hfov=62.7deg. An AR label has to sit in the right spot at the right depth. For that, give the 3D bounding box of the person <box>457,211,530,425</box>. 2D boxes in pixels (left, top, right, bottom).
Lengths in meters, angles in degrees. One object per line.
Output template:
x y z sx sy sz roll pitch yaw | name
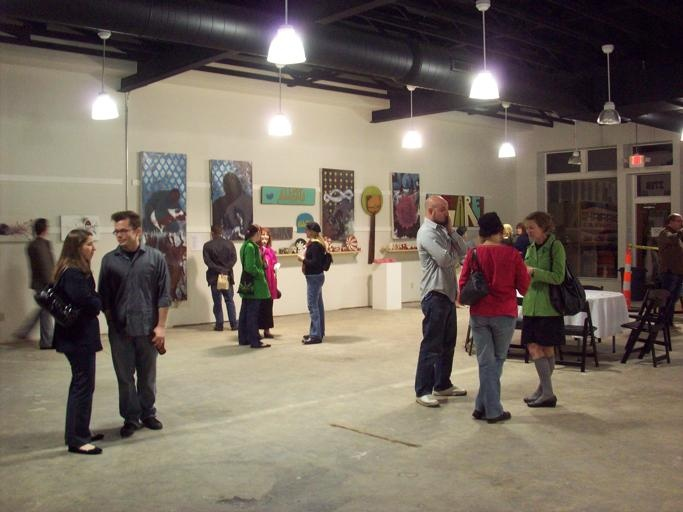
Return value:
1.452 0.737 5.355 0.640 1.701 0.361 0 3 12 | person

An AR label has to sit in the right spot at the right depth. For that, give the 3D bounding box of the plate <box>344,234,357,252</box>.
0.243 -0.305 12.919 0.135 0.403 0.447 2 4 43 | plate

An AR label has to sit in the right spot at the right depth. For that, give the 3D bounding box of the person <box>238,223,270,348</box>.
-1.356 0.461 8.831 0.474 1.906 0.520 -1 3 -19 | person

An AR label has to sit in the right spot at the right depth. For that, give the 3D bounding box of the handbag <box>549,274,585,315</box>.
2.273 0.396 5.711 0.179 0.431 0.402 -11 -12 33 | handbag

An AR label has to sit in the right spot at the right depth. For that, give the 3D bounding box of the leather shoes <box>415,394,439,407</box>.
0.898 1.502 5.855 0.102 0.098 0.230 1 -4 -32 | leather shoes

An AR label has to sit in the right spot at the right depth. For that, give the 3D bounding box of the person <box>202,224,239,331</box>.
-2.232 0.392 10.462 0.658 1.927 0.520 0 3 6 | person

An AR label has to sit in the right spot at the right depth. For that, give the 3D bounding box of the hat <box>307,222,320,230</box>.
-0.437 -0.479 9.005 0.168 0.071 0.125 16 9 -16 | hat

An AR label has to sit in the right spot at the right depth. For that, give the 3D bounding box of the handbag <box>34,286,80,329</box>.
-2.307 0.412 4.557 0.354 0.326 0.103 0 3 8 | handbag

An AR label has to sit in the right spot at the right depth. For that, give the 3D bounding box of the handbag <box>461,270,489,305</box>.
1.257 0.305 5.254 0.091 0.229 0.233 -4 -30 -35 | handbag

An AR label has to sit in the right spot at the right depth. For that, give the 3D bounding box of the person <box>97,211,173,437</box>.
-1.862 0.614 5.129 0.618 2.045 0.473 -2 3 -25 | person

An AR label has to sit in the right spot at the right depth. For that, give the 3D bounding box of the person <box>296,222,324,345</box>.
-0.442 0.425 9.152 0.432 1.957 0.497 -1 3 -4 | person

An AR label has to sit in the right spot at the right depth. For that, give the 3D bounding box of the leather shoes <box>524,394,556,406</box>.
2.042 1.505 5.798 0.249 0.105 0.136 3 -2 28 | leather shoes

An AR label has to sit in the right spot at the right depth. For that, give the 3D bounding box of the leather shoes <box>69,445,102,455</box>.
-2.147 1.643 4.722 0.227 0.066 0.102 -3 -7 4 | leather shoes

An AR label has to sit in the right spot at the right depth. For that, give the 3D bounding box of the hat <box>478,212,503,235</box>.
1.439 -0.341 5.410 0.179 0.131 0.245 -16 21 27 | hat

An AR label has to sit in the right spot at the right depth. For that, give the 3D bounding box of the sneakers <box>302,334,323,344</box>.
-0.444 1.348 9.090 0.358 0.169 0.126 5 -2 -12 | sneakers

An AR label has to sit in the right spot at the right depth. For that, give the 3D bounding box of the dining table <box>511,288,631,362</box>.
3.464 0.776 7.717 1.233 0.795 1.232 1 4 31 | dining table

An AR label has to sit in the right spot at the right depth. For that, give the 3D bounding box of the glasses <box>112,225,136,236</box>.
-1.959 -0.234 5.036 0.221 0.083 0.127 1 4 25 | glasses

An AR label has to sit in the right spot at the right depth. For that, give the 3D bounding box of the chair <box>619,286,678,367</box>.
4.462 1.064 8.178 0.847 1.330 0.861 2 -4 -35 | chair

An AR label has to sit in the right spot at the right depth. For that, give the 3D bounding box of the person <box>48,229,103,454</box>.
-2.182 0.728 4.673 0.353 1.885 0.286 -2 3 -30 | person

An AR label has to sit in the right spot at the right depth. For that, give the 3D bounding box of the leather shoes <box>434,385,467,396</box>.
1.196 1.467 6.238 0.380 0.169 0.135 -1 -1 -4 | leather shoes

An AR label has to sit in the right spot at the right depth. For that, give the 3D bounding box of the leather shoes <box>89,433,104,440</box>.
-2.165 1.616 5.006 0.040 0.056 0.124 1 3 26 | leather shoes

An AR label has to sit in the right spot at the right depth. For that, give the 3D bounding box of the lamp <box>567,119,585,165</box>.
6.382 -3.130 15.298 0.348 1.260 1.452 1 4 23 | lamp
